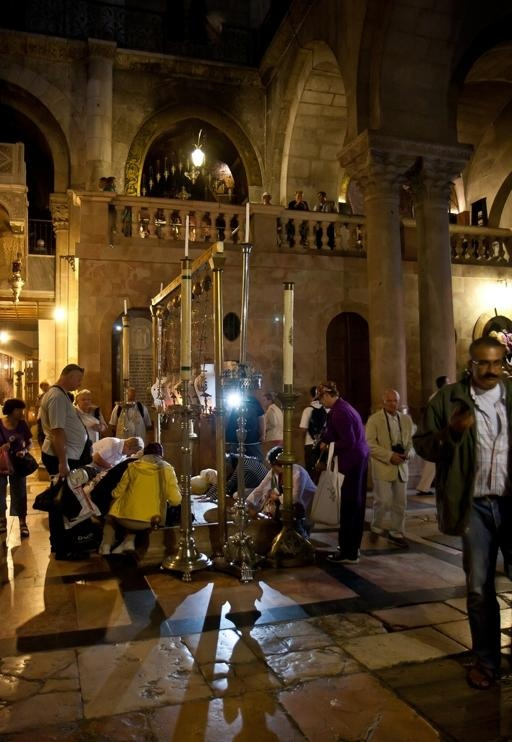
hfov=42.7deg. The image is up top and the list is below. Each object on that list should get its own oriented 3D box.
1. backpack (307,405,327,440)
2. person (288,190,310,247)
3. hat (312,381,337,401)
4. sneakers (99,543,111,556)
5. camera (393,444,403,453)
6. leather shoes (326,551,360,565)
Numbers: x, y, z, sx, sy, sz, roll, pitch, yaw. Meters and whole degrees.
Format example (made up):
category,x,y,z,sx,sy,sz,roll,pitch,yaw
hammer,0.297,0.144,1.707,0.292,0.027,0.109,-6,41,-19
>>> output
category,x,y,z,sx,sy,sz,roll,pitch,yaw
backpack,0.731,0.628,8.010,0.261,0.379,0.147,1,-5,18
person,0.724,-2.725,12.317,0.405,1.263,0.377,6,28,-5
hat,0.614,0.166,5.790,0.148,0.109,0.196,2,-1,-7
sneakers,-1.313,1.521,5.672,0.095,0.177,0.104,0,-1,-19
camera,1.426,0.781,6.585,0.068,0.098,0.089,-2,9,5
leather shoes,0.717,1.551,5.425,0.263,0.122,0.099,5,-9,6
